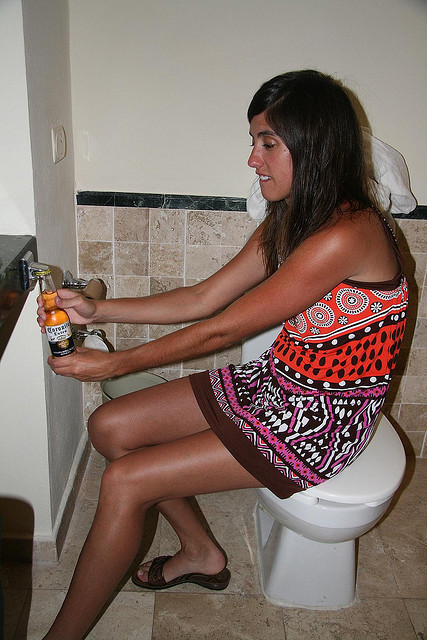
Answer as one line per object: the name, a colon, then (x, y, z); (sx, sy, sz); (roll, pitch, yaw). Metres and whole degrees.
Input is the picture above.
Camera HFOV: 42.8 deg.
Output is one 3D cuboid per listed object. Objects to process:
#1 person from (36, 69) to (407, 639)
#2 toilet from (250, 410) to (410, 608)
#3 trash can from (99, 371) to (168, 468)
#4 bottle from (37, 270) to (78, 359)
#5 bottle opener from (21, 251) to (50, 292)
person: (0.011, 0.091, 1.146); (0.761, 1.124, 0.413); (-4, 17, -12)
toilet: (0.239, 0.458, 1.270); (0.310, 0.346, 0.328); (20, 24, 25)
trash can: (-0.273, 0.272, 1.747); (0.209, 0.315, 0.193); (-2, 8, -29)
bottle: (-0.297, -0.023, 1.043); (0.058, 0.163, 0.160); (-6, 18, -17)
bottle opener: (-0.324, -0.084, 1.006); (0.040, 0.054, 0.055); (-6, -1, -2)
